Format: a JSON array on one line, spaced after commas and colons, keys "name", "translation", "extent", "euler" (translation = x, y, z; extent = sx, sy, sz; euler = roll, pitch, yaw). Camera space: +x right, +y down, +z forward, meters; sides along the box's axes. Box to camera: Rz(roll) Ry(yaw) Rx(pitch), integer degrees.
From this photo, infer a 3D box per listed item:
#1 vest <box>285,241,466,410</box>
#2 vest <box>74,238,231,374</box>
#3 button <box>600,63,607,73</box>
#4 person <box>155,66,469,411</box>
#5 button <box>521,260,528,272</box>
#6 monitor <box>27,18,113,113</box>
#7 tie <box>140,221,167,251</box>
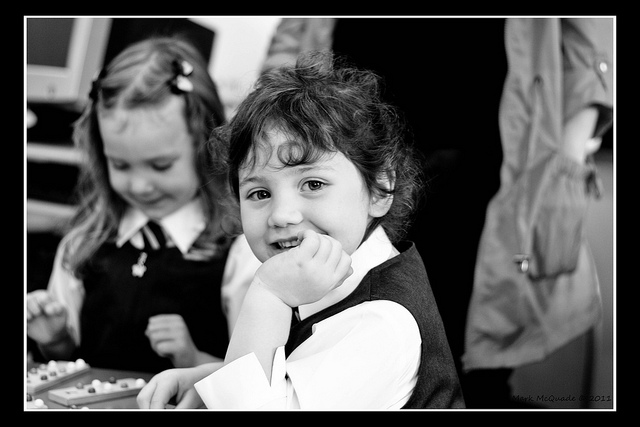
[{"name": "vest", "translation": [0.168, 0.390, 2.750], "extent": [0.562, 0.901, 0.681], "euler": [-12, 9, 2]}, {"name": "vest", "translation": [-0.613, 0.366, 2.651], "extent": [0.552, 0.680, 0.387], "euler": [10, 15, 13]}, {"name": "button", "translation": [1.044, -0.541, 2.482], "extent": [0.029, 0.030, 0.005], "euler": [41, -9, -2]}, {"name": "person", "translation": [0.045, 0.088, 2.355], "extent": [0.865, 1.225, 0.412], "euler": [1, 7, 8]}, {"name": "button", "translation": [0.751, 0.190, 2.476], "extent": [0.025, 0.039, 0.006], "euler": [-1, 7, -16]}, {"name": "monitor", "translation": [-0.920, -0.544, 2.490], "extent": [0.277, 0.381, 0.208], "euler": [11, -3, 15]}, {"name": "tie", "translation": [-0.628, 0.086, 2.504], "extent": [0.096, 0.094, 0.034], "euler": [-11, -3, 5]}]
